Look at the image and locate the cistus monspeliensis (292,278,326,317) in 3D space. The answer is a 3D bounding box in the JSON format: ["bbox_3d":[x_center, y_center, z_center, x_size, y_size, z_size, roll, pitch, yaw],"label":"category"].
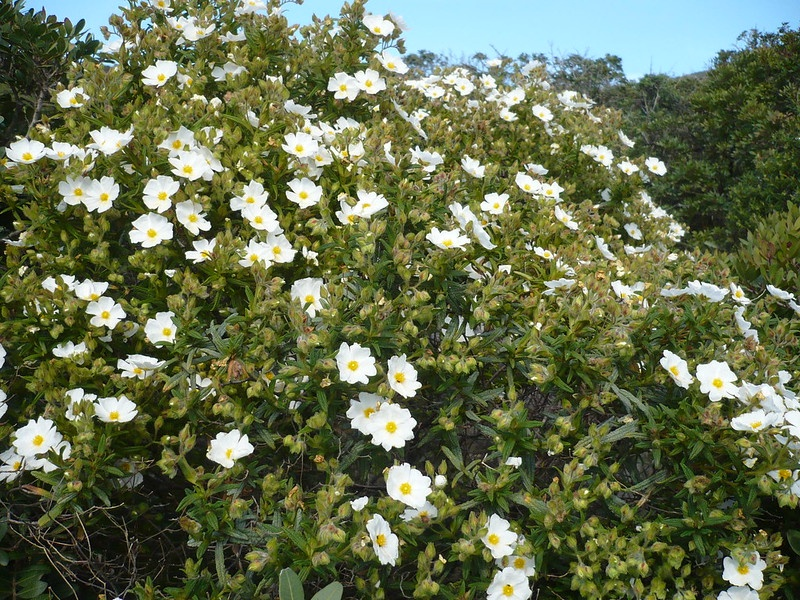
[{"bbox_3d":[-0.390,-0.024,2.630,0.138,0.199,0.317,9,-7,-10],"label":"cistus monspeliensis"}]

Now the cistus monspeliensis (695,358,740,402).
[{"bbox_3d":[1.342,0.346,2.587,0.254,0.170,0.106,12,-9,-30],"label":"cistus monspeliensis"}]

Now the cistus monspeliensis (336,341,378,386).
[{"bbox_3d":[-0.169,0.249,2.430,0.164,0.149,0.075,9,-7,-7],"label":"cistus monspeliensis"}]

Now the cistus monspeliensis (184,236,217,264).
[{"bbox_3d":[-0.902,-0.232,2.825,0.113,0.130,0.315,10,-8,-19],"label":"cistus monspeliensis"}]

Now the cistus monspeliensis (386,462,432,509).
[{"bbox_3d":[0.035,0.735,2.443,0.180,0.177,0.152,7,-7,3],"label":"cistus monspeliensis"}]

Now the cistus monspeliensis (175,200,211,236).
[{"bbox_3d":[-0.948,-0.377,2.829,0.149,0.160,0.051,-21,12,-29],"label":"cistus monspeliensis"}]

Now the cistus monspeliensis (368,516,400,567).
[{"bbox_3d":[-0.061,0.907,2.346,0.154,0.179,0.110,10,-8,-20],"label":"cistus monspeliensis"}]

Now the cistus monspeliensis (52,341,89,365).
[{"bbox_3d":[-1.478,0.228,2.800,0.162,0.062,0.093,3,-9,36],"label":"cistus monspeliensis"}]

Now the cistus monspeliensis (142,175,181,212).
[{"bbox_3d":[-1.092,-0.485,2.830,0.155,0.168,0.059,-16,2,-4],"label":"cistus monspeliensis"}]

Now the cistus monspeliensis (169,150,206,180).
[{"bbox_3d":[-0.981,-0.626,2.870,0.191,0.142,0.075,6,-7,16],"label":"cistus monspeliensis"}]

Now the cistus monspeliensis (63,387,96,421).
[{"bbox_3d":[-1.380,0.459,2.701,0.122,0.101,0.229,13,-9,-34],"label":"cistus monspeliensis"}]

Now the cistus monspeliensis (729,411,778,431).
[{"bbox_3d":[1.427,0.486,2.494,0.247,0.098,0.125,15,-10,-42],"label":"cistus monspeliensis"}]

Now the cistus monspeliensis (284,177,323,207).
[{"bbox_3d":[-0.449,-0.507,2.984,0.172,0.165,0.177,8,-7,-1],"label":"cistus monspeliensis"}]

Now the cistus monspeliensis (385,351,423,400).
[{"bbox_3d":[0.007,0.306,2.504,0.149,0.156,0.079,-30,-4,-20],"label":"cistus monspeliensis"}]

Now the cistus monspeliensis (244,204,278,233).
[{"bbox_3d":[-0.628,-0.382,2.825,0.137,0.127,0.101,3,-9,34],"label":"cistus monspeliensis"}]

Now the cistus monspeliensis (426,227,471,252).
[{"bbox_3d":[0.205,-0.259,2.672,0.190,0.114,0.111,9,-7,-6],"label":"cistus monspeliensis"}]

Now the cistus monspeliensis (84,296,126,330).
[{"bbox_3d":[-1.334,0.062,2.834,0.164,0.104,0.052,8,-7,3],"label":"cistus monspeliensis"}]

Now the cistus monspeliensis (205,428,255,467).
[{"bbox_3d":[-0.667,0.595,2.467,0.175,0.158,0.104,8,-7,-2],"label":"cistus monspeliensis"}]

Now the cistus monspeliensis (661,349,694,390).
[{"bbox_3d":[1.127,0.283,2.541,0.131,0.148,0.056,13,-33,-6],"label":"cistus monspeliensis"}]

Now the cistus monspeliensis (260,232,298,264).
[{"bbox_3d":[-0.539,-0.229,2.823,0.125,0.140,0.064,-8,-16,-39],"label":"cistus monspeliensis"}]

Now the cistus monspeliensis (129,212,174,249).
[{"bbox_3d":[-1.118,-0.315,2.861,0.151,0.171,0.065,5,-12,-2],"label":"cistus monspeliensis"}]

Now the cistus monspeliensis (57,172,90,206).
[{"bbox_3d":[-1.518,-0.516,2.903,0.118,0.101,0.111,13,-9,-36],"label":"cistus monspeliensis"}]

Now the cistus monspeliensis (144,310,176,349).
[{"bbox_3d":[-1.013,0.123,2.672,0.145,0.150,0.101,8,-7,-2],"label":"cistus monspeliensis"}]

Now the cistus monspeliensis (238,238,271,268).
[{"bbox_3d":[-0.643,-0.204,2.768,0.109,0.139,0.126,2,-9,36],"label":"cistus monspeliensis"}]

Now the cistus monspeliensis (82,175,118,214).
[{"bbox_3d":[-1.390,-0.487,2.914,0.154,0.168,0.067,-15,-6,8],"label":"cistus monspeliensis"}]

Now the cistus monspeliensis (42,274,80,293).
[{"bbox_3d":[-1.569,-0.075,2.873,0.137,0.070,0.120,13,-9,-33],"label":"cistus monspeliensis"}]

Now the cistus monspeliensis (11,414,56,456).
[{"bbox_3d":[-1.553,0.595,2.661,0.163,0.188,0.069,6,-20,-1],"label":"cistus monspeliensis"}]
